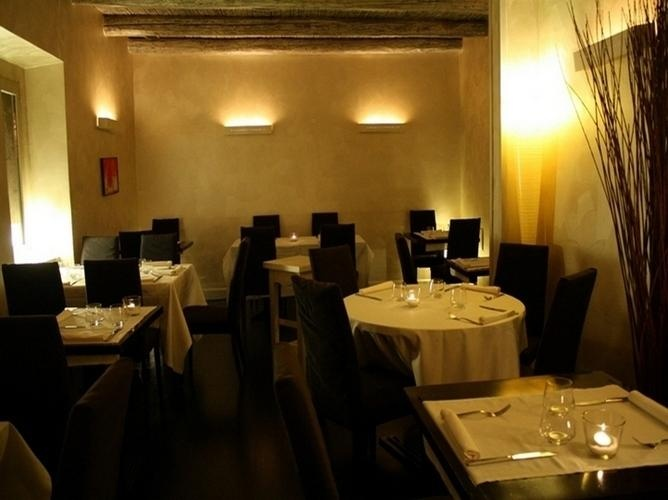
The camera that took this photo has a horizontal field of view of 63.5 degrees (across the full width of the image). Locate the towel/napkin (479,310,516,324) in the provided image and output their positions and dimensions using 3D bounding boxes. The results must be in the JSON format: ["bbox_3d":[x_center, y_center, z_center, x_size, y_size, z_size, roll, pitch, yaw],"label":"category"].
[{"bbox_3d":[1.006,0.404,3.305,0.115,0.039,0.319,9,16,44],"label":"towel/napkin"}]

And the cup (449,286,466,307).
[{"bbox_3d":[0.822,0.313,3.596,0.100,0.200,0.109,-2,0,0],"label":"cup"}]

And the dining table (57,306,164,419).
[{"bbox_3d":[-1.395,0.680,3.351,0.589,0.506,0.604,1,20,1],"label":"dining table"}]

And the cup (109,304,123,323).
[{"bbox_3d":[-1.458,0.425,3.614,0.083,0.150,0.092,-4,3,-25],"label":"cup"}]

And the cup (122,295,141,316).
[{"bbox_3d":[-1.450,0.395,3.861,0.110,0.140,0.123,2,0,11],"label":"cup"}]

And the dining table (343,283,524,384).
[{"bbox_3d":[0.630,0.517,3.327,0.696,0.302,0.735,-4,10,-2],"label":"dining table"}]

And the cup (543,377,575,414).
[{"bbox_3d":[0.864,0.566,2.121,0.114,0.141,0.123,0,-4,0],"label":"cup"}]

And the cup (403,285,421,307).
[{"bbox_3d":[0.540,0.312,3.698,0.111,0.143,0.120,-1,2,0],"label":"cup"}]

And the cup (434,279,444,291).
[{"bbox_3d":[0.735,0.250,3.793,0.061,0.068,0.066,-1,0,0],"label":"cup"}]

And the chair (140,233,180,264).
[{"bbox_3d":[-1.926,-0.009,6.038,0.328,0.538,0.367,0,-1,2],"label":"chair"}]

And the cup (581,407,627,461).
[{"bbox_3d":[0.983,0.651,1.976,0.134,0.147,0.162,-3,12,3],"label":"cup"}]

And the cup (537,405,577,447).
[{"bbox_3d":[0.839,0.663,2.044,0.110,0.127,0.118,0,4,0],"label":"cup"}]

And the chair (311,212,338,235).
[{"bbox_3d":[-0.166,-0.381,7.956,0.331,0.532,0.360,0,2,-2],"label":"chair"}]
